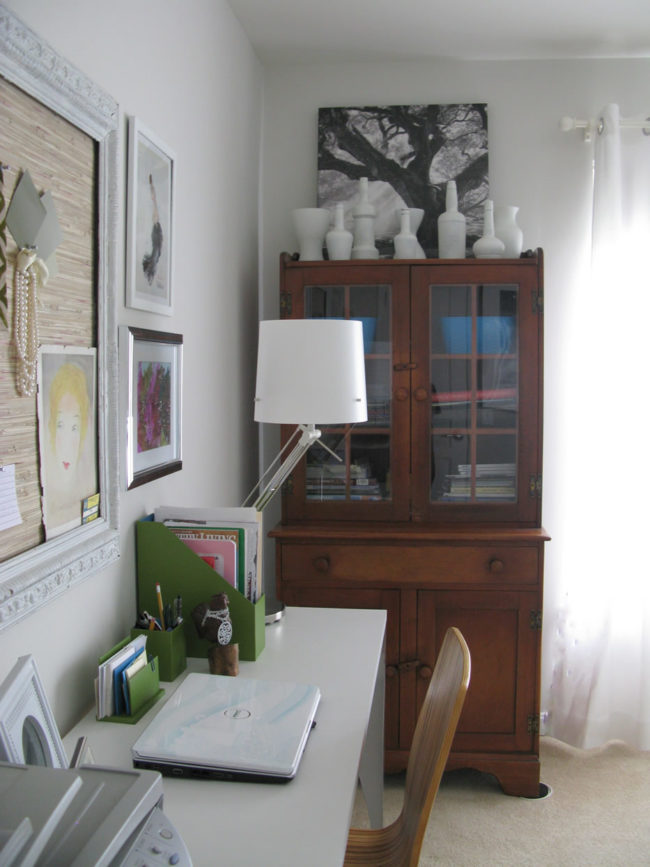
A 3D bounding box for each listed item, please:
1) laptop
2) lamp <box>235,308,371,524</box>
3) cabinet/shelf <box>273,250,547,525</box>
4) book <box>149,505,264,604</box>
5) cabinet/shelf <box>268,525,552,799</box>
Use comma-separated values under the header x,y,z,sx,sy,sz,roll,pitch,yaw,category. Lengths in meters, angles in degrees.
x,y,z,sx,sy,sz,roll,pitch,yaw,category
-0.139,0.449,1.199,0.238,0.040,0.276,1,5,9,laptop
-0.054,-0.024,1.776,0.303,0.488,0.267,1,10,10,lamp
0.288,-0.180,2.544,0.782,0.945,0.336,0,24,7,cabinet/shelf
-0.244,0.237,1.565,0.247,0.171,0.065,2,4,15,book
0.226,0.548,1.929,0.735,0.779,0.296,0,1,4,cabinet/shelf
